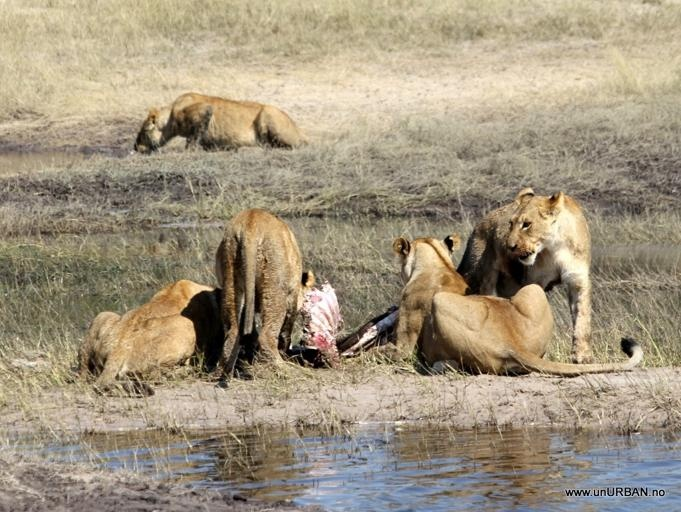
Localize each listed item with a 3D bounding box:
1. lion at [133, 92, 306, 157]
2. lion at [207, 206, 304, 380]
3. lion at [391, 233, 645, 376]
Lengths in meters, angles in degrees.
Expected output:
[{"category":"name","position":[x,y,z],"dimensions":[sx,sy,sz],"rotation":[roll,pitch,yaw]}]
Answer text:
[{"category":"lion","position":[-2.797,-3.035,28.621],"dimensions":[3.463,1.549,1.186],"rotation":[-5,8,19]},{"category":"lion","position":[-1.016,0.422,17.779],"dimensions":[0.982,2.418,3.802],"rotation":[5,1,5]},{"category":"lion","position":[1.775,0.674,16.109],"dimensions":[2.964,1.760,1.029],"rotation":[-1,10,39]}]
